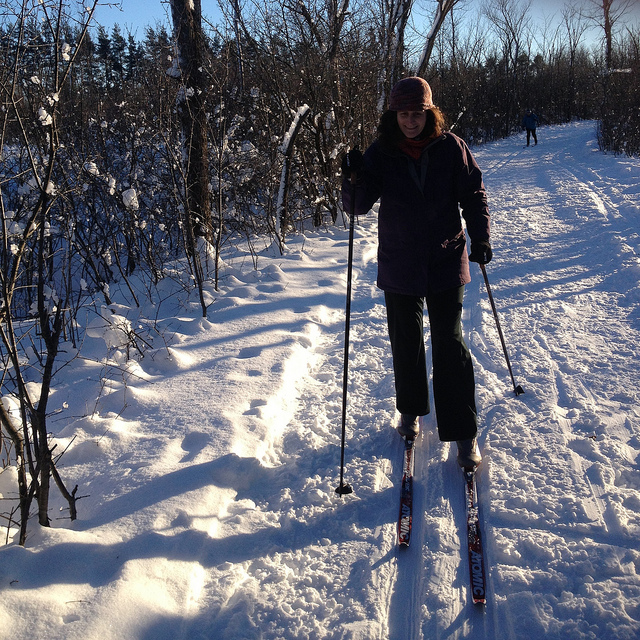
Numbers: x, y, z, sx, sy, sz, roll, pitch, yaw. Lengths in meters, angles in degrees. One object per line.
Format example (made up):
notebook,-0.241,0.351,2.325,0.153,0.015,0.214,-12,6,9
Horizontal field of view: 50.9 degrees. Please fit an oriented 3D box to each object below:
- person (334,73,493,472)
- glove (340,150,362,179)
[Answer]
person,0.730,-0.279,4.028,1.162,2.265,0.649,-13,15,-38
glove,0.182,-0.867,3.758,0.082,0.163,0.053,3,6,9
